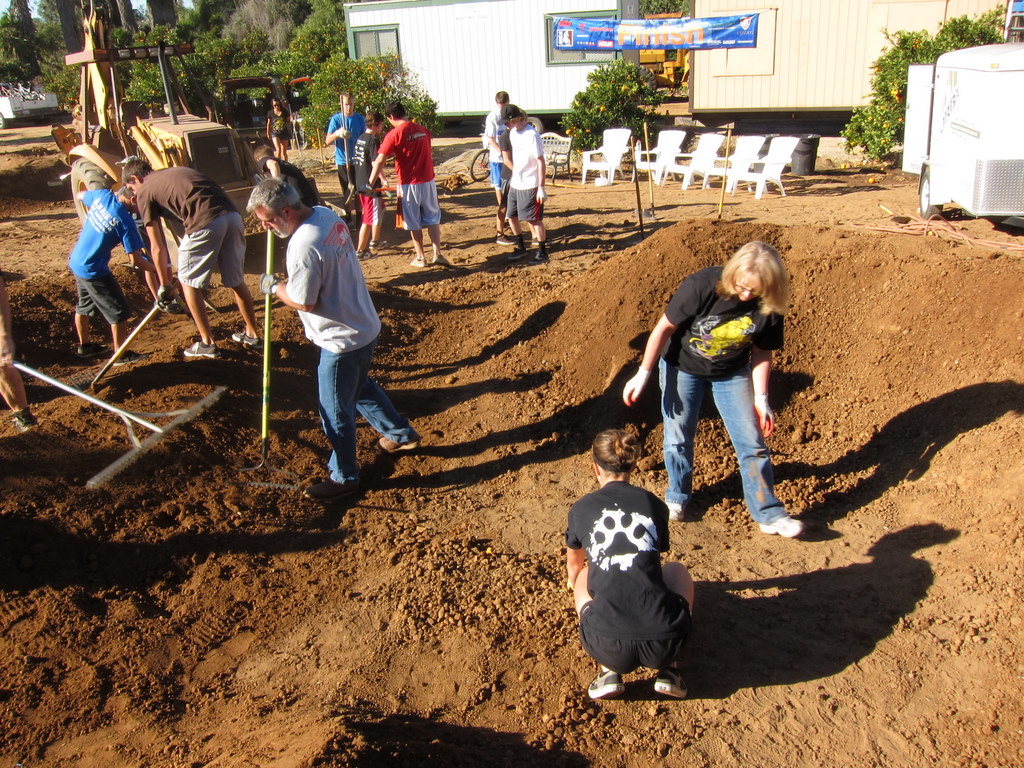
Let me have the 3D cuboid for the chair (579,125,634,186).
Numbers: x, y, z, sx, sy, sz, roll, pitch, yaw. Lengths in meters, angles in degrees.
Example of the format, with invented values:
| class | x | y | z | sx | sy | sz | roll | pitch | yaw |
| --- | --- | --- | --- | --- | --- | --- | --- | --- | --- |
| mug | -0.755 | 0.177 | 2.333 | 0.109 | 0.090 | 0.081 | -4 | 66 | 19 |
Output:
| class | x | y | z | sx | sy | sz | roll | pitch | yaw |
| --- | --- | --- | --- | --- | --- | --- | --- | --- | --- |
| chair | 2.075 | -4.971 | 17.355 | 1.023 | 1.082 | 2.271 | 1 | 20 | 7 |

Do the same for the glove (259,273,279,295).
| class | x | y | z | sx | sy | sz | roll | pitch | yaw |
| --- | --- | --- | --- | --- | --- | --- | --- | --- | --- |
| glove | -1.895 | -0.787 | 6.315 | 0.135 | 0.164 | 0.065 | 0 | -6 | 23 |

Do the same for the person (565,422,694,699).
| class | x | y | z | sx | sy | sz | roll | pitch | yaw |
| --- | --- | --- | --- | --- | --- | --- | --- | --- | --- |
| person | 0.752 | 1.172 | 4.985 | 0.721 | 1.637 | 0.750 | -5 | 22 | -7 |

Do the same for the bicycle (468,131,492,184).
| class | x | y | z | sx | sy | sz | roll | pitch | yaw |
| --- | --- | --- | --- | --- | --- | --- | --- | --- | --- |
| bicycle | -0.674 | -4.927 | 17.913 | 0.664 | 0.713 | 1.252 | 4 | 21 | 2 |

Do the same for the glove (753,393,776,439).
| class | x | y | z | sx | sy | sz | roll | pitch | yaw |
| --- | --- | --- | --- | --- | --- | --- | --- | --- | --- |
| glove | 1.888 | 0.249 | 6.029 | 0.104 | 0.291 | 0.230 | -20 | 7 | 11 |

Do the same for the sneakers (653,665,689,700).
| class | x | y | z | sx | sy | sz | roll | pitch | yaw |
| --- | --- | --- | --- | --- | --- | --- | --- | --- | --- |
| sneakers | 0.974 | 1.873 | 5.005 | 0.141 | 0.160 | 0.329 | 1 | -6 | 41 |

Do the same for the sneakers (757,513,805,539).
| class | x | y | z | sx | sy | sz | roll | pitch | yaw |
| --- | --- | --- | --- | --- | --- | --- | --- | --- | --- |
| sneakers | 2.065 | 1.099 | 6.163 | 0.350 | 0.143 | 0.163 | -1 | 33 | 20 |

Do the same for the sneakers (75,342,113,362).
| class | x | y | z | sx | sy | sz | roll | pitch | yaw |
| --- | --- | --- | --- | --- | --- | --- | --- | --- | --- |
| sneakers | -4.419 | -0.345 | 8.563 | 0.373 | 0.131 | 0.177 | -7 | 24 | -20 |

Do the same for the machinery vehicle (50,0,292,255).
| class | x | y | z | sx | sy | sz | roll | pitch | yaw |
| --- | --- | --- | --- | --- | --- | --- | --- | --- | --- |
| machinery vehicle | -4.433 | -4.571 | 12.905 | 5.653 | 3.152 | 1.969 | 23 | 42 | 26 |

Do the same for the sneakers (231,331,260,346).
| class | x | y | z | sx | sy | sz | roll | pitch | yaw |
| --- | --- | --- | --- | --- | --- | --- | --- | --- | --- |
| sneakers | -2.744 | -0.477 | 8.299 | 0.313 | 0.106 | 0.128 | 13 | 8 | 26 |

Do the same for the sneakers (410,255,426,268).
| class | x | y | z | sx | sy | sz | roll | pitch | yaw |
| --- | --- | --- | --- | --- | --- | --- | --- | --- | --- |
| sneakers | -1.320 | -1.737 | 11.339 | 0.221 | 0.140 | 0.115 | 31 | 42 | 32 |

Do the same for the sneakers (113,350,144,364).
| class | x | y | z | sx | sy | sz | roll | pitch | yaw |
| --- | --- | --- | --- | --- | --- | --- | --- | --- | --- |
| sneakers | -3.811 | -0.259 | 8.018 | 0.159 | 0.108 | 0.382 | 0 | 7 | -20 |

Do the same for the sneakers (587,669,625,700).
| class | x | y | z | sx | sy | sz | roll | pitch | yaw |
| --- | --- | --- | --- | --- | --- | --- | --- | --- | --- |
| sneakers | 0.591 | 1.871 | 4.950 | 0.138 | 0.140 | 0.322 | 6 | -21 | -23 |

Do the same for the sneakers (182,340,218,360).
| class | x | y | z | sx | sy | sz | roll | pitch | yaw |
| --- | --- | --- | --- | --- | --- | --- | --- | --- | --- |
| sneakers | -3.002 | -0.326 | 7.783 | 0.374 | 0.149 | 0.146 | 5 | 14 | 5 |
